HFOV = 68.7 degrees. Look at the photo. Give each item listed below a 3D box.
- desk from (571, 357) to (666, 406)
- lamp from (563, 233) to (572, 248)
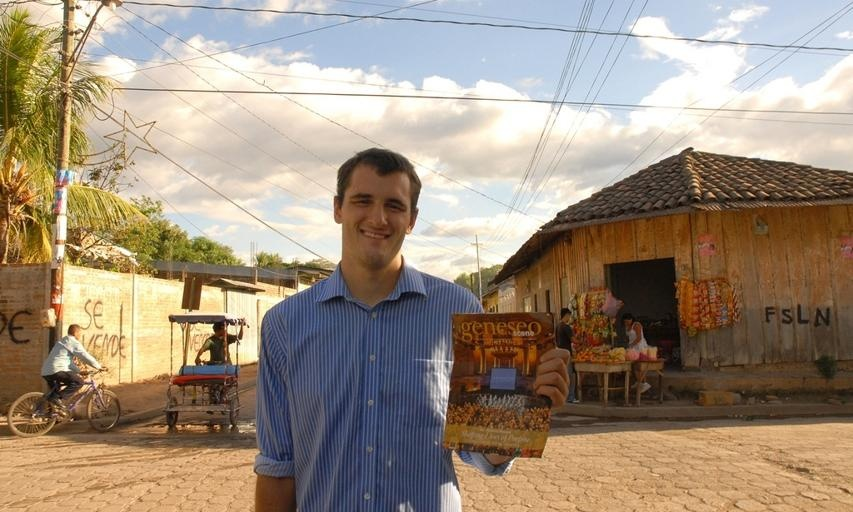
[{"bbox_3d":[5.574,3.641,18.323,2.545,1.434,2.003,0,3,12],"label":"desk"},{"bbox_3d":[5.022,-0.545,22.016,0.086,0.326,0.341,6,-6,-18],"label":"lamp"}]
